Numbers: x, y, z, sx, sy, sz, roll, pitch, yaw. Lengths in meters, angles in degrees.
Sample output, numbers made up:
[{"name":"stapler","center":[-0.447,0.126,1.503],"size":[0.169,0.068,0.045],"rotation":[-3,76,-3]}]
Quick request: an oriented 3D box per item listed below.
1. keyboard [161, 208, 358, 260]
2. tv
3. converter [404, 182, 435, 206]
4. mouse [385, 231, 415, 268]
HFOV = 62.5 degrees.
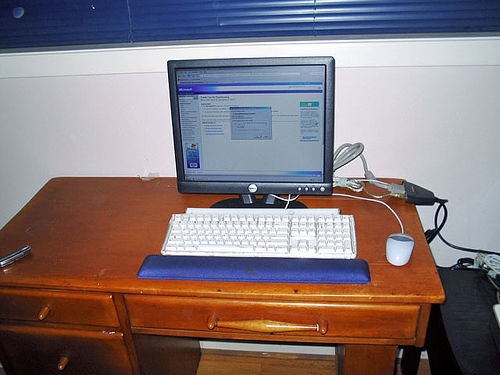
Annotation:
[{"name":"keyboard","center":[0.032,0.152,1.410],"size":[0.633,0.096,0.201],"rotation":[0,19,4]},{"name":"tv","center":[0.016,-0.211,1.502],"size":[0.580,0.492,0.185],"rotation":[1,22,5]},{"name":"converter","center":[0.641,0.027,1.567],"size":[0.101,0.026,0.084],"rotation":[8,35,-1]},{"name":"mouse","center":[0.478,0.198,1.319],"size":[0.086,0.084,0.082],"rotation":[5,20,19]}]
